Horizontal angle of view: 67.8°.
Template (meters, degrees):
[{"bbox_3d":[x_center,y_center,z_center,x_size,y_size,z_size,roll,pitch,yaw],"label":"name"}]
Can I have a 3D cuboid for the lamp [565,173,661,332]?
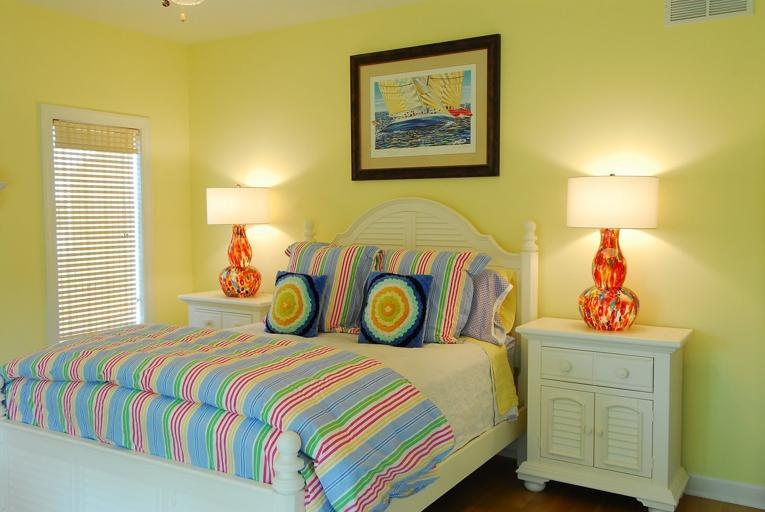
[{"bbox_3d":[1.418,-0.020,3.556,0.532,0.966,0.264,1,6,13],"label":"lamp"}]

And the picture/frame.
[{"bbox_3d":[0.357,-1.131,4.270,1.262,0.978,0.054,1,3,32],"label":"picture/frame"}]
